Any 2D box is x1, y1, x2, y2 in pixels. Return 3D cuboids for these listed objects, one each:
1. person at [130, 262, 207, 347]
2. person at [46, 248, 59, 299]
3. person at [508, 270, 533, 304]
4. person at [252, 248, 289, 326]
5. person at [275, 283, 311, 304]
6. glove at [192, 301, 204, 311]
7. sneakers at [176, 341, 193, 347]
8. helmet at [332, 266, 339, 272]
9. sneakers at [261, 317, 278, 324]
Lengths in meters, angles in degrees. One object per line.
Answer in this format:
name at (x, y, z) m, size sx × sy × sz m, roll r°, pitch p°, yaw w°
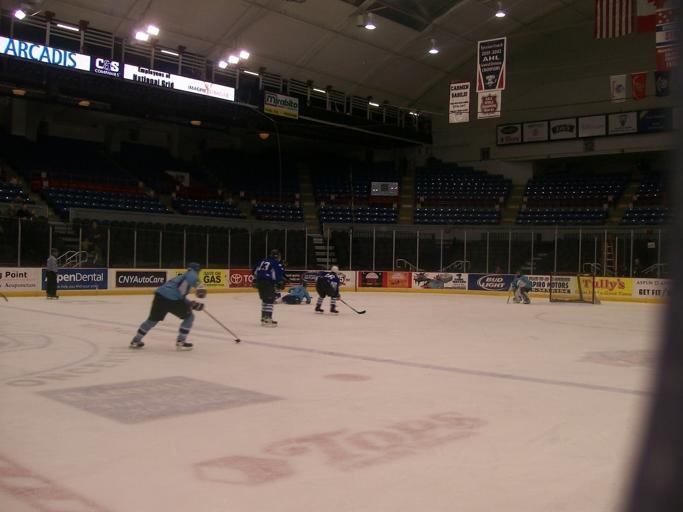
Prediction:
person at (-2.829, 0.816, 11.320) m, size 1.237 × 1.594 × 0.728 m, roll 9°, pitch -23°, yaw -22°
person at (-9.160, 0.584, 21.409) m, size 0.296 × 1.569 × 0.533 m, roll 1°, pitch 2°, yaw -21°
person at (6.582, 1.216, 24.905) m, size 0.667 × 1.070 × 0.968 m, roll 2°, pitch 1°, yaw 12°
person at (-1.600, 0.717, 14.798) m, size 0.644 × 1.625 × 0.414 m, roll 1°, pitch 2°, yaw -26°
person at (-1.428, 1.291, 22.137) m, size 0.931 × 0.405 × 0.670 m, roll -5°, pitch 8°, yaw -38°
glove at (-2.365, 0.837, 11.136) m, size 0.160 × 0.139 × 0.417 m, roll 1°, pitch 1°, yaw -4°
sneakers at (-2.550, 1.459, 11.055) m, size 0.230 × 0.084 × 0.102 m, roll 0°, pitch 2°, yaw 0°
helmet at (-0.176, 0.351, 17.856) m, size 0.197 × 0.208 × 0.263 m, roll 0°, pitch -9°, yaw 1°
sneakers at (-1.580, 1.449, 14.801) m, size 0.337 × 0.154 × 0.259 m, roll 1°, pitch 1°, yaw -6°
